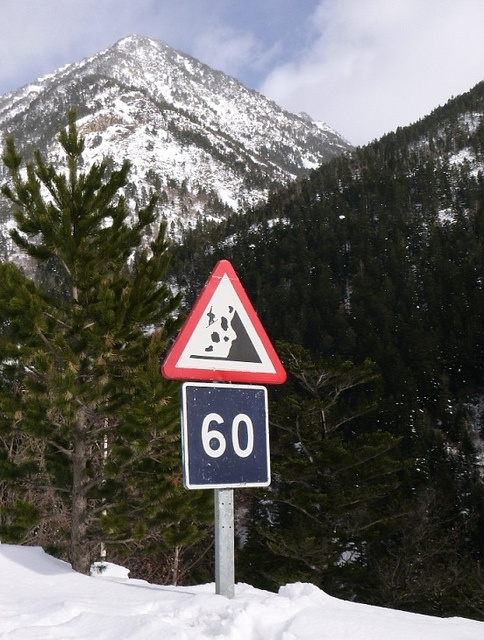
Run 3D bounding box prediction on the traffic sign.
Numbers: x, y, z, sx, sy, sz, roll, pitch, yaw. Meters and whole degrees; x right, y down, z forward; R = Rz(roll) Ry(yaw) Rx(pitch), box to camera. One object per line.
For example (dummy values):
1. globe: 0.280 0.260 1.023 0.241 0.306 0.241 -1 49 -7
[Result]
1. traffic sign: -0.308 2.064 18.851 1.548 2.140 0.255 -1 -1 -15
